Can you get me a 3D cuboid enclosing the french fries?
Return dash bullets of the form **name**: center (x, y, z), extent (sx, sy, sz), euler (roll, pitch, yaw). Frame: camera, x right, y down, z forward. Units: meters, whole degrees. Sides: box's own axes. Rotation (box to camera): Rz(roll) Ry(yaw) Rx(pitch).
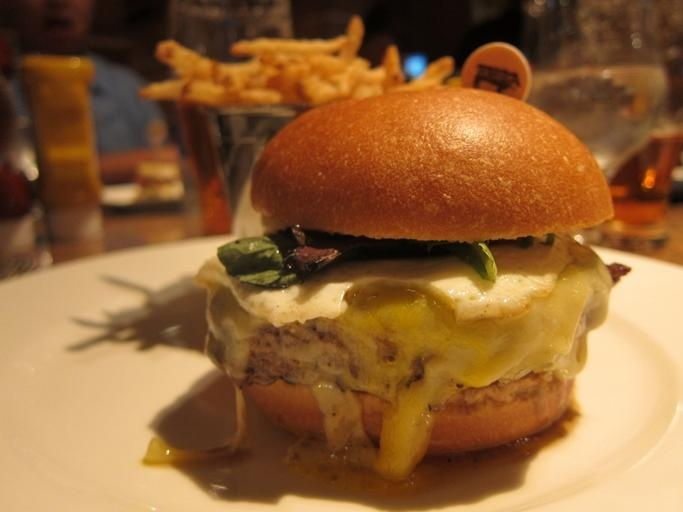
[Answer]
- **french fries**: center (-0.291, -0.829, 3.092), extent (1.240, 0.352, 0.749), euler (-9, 11, -14)
